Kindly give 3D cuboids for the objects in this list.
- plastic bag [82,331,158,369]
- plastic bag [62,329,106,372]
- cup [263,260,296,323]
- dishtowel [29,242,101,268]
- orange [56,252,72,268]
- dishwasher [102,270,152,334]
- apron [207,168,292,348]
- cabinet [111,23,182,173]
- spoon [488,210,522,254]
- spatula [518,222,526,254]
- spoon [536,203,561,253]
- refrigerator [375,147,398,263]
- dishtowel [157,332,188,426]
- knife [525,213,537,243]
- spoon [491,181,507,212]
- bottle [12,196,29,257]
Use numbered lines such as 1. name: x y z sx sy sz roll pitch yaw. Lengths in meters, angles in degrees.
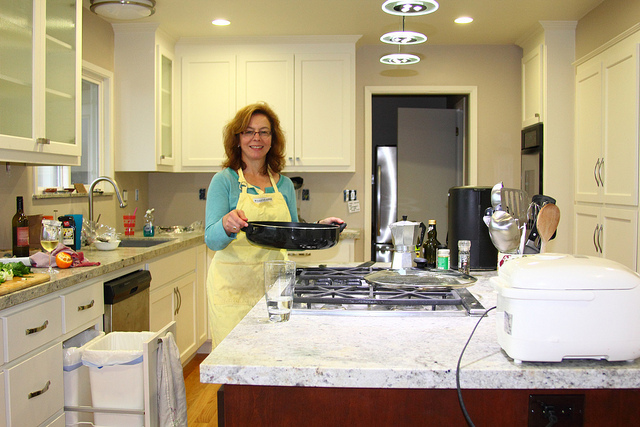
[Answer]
1. plastic bag: -1.023 0.676 2.440 0.239 0.118 0.312 1 -5 1
2. plastic bag: -1.306 0.728 2.669 0.180 0.117 0.245 1 2 20
3. cup: -0.157 0.296 1.918 0.115 0.239 0.178 0 2 -4
4. dishtowel: -1.462 0.240 2.813 0.366 0.125 0.140 0 2 -24
5. orange: -1.438 0.258 2.748 0.077 0.055 0.077 33 16 -37
6. dishwasher: -1.204 0.620 3.099 0.055 0.423 0.388 6 10 15
7. apron: -0.399 0.249 2.787 0.398 0.964 0.415 4 10 -29
8. cabinet: -1.539 -1.033 4.506 0.499 1.356 0.539 0 1 5
9. spoon: 0.802 0.083 2.098 0.171 0.197 0.119 -1 3 -42
10. spatula: 0.859 0.108 2.074 0.022 0.125 0.056 2 3 23
11. spoon: 0.893 0.036 1.929 0.072 0.226 0.033 6 7 -11
12. refrigerator: 0.794 -0.144 5.820 0.250 1.346 0.674 1 2 6
13. dishtowel: -0.678 0.772 2.263 0.113 0.377 0.177 1 7 2
14. knife: 0.996 0.064 2.309 0.016 0.141 0.020 21 -2 27
15. spoon: 0.820 -0.079 2.220 0.064 0.133 0.373 1 2 20
16. bottle: -1.765 0.078 2.880 0.081 0.346 0.194 -1 3 -33
